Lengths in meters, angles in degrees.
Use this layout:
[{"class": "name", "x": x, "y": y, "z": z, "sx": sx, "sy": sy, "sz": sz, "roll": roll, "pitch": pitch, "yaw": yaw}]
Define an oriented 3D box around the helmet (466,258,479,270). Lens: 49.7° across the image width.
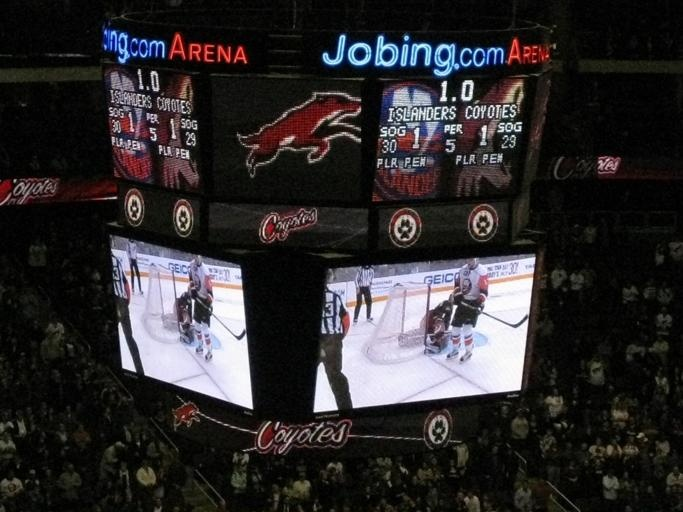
[{"class": "helmet", "x": 3.034, "y": 0.173, "z": 17.160, "sx": 0.216, "sy": 0.273, "sz": 0.280, "roll": -3, "pitch": -4, "yaw": 6}]
